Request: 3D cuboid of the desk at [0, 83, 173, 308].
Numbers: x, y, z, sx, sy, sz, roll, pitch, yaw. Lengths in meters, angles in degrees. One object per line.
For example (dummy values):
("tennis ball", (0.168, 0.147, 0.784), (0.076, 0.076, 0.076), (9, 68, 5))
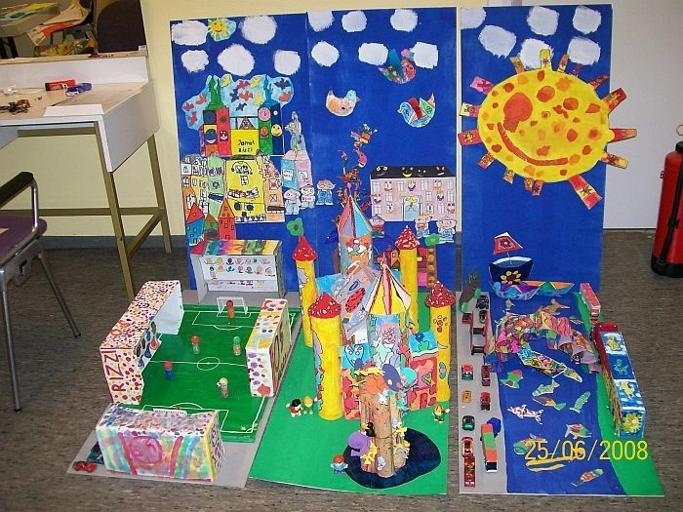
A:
("desk", (-2.004, -0.511, 4.329), (1.388, 1.303, 1.029), (5, 42, 5))
